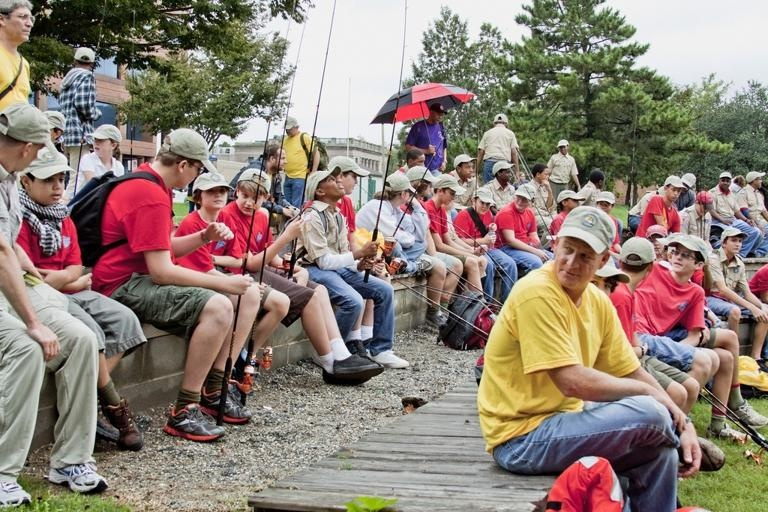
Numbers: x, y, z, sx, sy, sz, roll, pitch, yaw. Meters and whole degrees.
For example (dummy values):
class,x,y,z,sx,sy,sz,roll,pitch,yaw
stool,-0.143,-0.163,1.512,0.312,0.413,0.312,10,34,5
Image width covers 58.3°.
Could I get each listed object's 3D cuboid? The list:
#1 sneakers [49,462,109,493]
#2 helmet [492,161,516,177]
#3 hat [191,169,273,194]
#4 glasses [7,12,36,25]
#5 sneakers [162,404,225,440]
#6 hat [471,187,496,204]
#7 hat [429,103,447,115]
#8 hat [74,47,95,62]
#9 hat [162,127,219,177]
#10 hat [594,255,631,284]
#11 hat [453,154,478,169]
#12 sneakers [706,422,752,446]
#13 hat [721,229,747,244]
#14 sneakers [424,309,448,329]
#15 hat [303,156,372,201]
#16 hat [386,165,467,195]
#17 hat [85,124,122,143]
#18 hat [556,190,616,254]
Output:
class,x,y,z,sx,sy,sz,roll,pitch,yaw
sneakers,-1.884,1.360,4.318,0.364,0.176,0.161,6,0,14
helmet,1.861,-1.340,10.719,0.285,0.156,0.226,-18,4,23
hat,-1.240,-0.639,5.687,0.539,0.186,0.341,-2,-7,-30
glasses,-3.068,-2.023,5.854,0.097,0.122,0.238,9,9,25
sneakers,-1.409,1.226,5.088,0.482,0.224,0.233,7,4,20
hat,1.363,-0.870,9.377,0.274,0.187,0.351,15,0,-19
hat,0.843,-2.287,10.665,0.207,0.111,0.153,2,9,3
hat,-3.307,-2.211,7.608,0.179,0.146,0.244,-2,37,-20
hat,-1.395,-0.755,5.084,0.377,0.193,0.262,15,-11,-20
hat,1.725,0.119,5.145,0.212,0.126,0.333,20,-1,-5
hat,1.156,-1.409,10.086,0.343,0.174,0.273,-22,1,18
sneakers,3.086,1.588,6.157,0.360,0.163,0.137,-1,10,22
hat,4.476,-0.239,8.869,0.181,0.130,0.242,0,-11,-25
sneakers,0.650,0.795,8.724,0.127,0.265,0.355,-20,14,-41
hat,-0.459,-0.771,6.686,0.555,0.296,0.354,-20,7,-5
hat,0.556,-0.935,8.557,0.741,0.270,0.478,4,3,-2
hat,-3.180,-1.414,7.969,0.222,0.164,0.318,4,-5,26
hat,1.243,-0.191,4.138,0.232,0.177,0.345,23,-1,25
